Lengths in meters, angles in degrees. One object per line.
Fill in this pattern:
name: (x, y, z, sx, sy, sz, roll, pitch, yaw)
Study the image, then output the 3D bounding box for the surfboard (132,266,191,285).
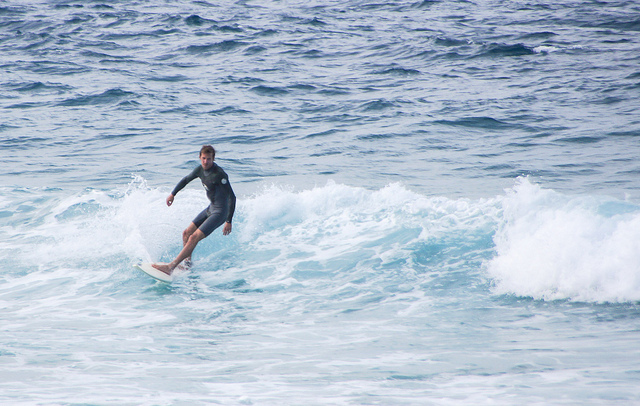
surfboard: (-5.434, 2.484, 32.250, 2.993, 0.192, 0.689, 5, 7, -21)

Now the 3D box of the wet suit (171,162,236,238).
wet suit: (-3.659, -0.179, 32.540, 1.475, 2.463, 1.508, -2, 23, -7)
